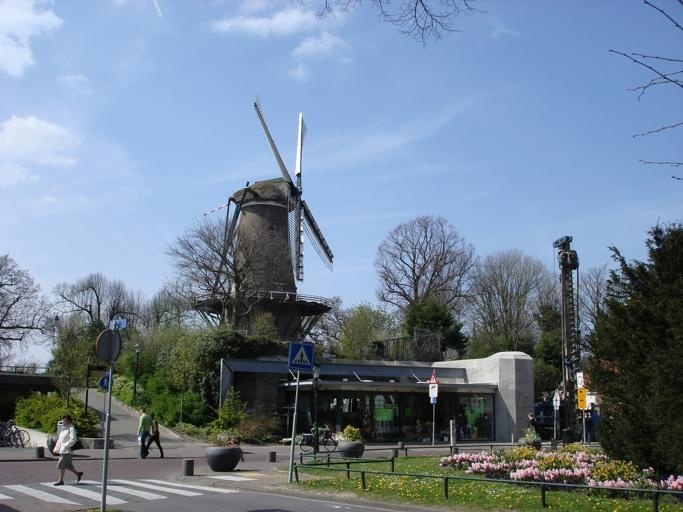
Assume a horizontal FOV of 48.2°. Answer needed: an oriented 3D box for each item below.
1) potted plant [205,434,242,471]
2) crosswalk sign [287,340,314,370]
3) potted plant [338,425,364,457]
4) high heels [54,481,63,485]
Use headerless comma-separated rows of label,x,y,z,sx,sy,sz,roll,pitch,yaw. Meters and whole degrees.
potted plant,-4.499,7.684,29.047,1.442,1.162,1.447,0,-3,-28
crosswalk sign,-1.371,3.275,25.562,0.822,1.115,1.710,1,-17,-4
potted plant,0.395,7.618,31.683,1.140,1.619,1.237,1,-18,-2
high heels,-9.365,7.478,25.275,0.225,0.104,0.121,7,-18,-12
